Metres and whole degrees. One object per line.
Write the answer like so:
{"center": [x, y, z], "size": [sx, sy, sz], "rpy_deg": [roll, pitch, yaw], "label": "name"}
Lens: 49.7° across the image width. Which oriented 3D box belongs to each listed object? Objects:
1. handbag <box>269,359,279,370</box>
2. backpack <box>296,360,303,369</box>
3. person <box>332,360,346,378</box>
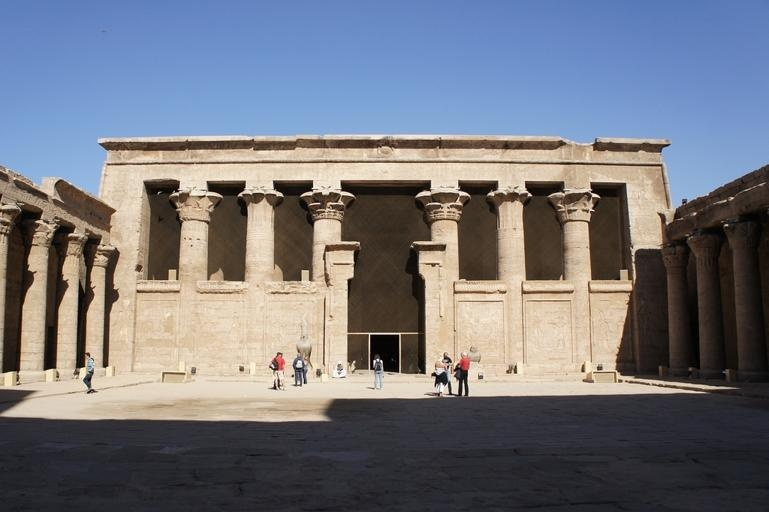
{"center": [-5.341, 5.283, 40.335], "size": [0.281, 0.601, 0.417], "rpy_deg": [6, -13, -24], "label": "handbag"}
{"center": [-4.212, 5.438, 41.522], "size": [0.414, 0.444, 0.457], "rpy_deg": [2, -41, -2], "label": "backpack"}
{"center": [-2.516, 6.527, 47.080], "size": [1.029, 0.881, 0.752], "rpy_deg": [1, -16, -5], "label": "person"}
